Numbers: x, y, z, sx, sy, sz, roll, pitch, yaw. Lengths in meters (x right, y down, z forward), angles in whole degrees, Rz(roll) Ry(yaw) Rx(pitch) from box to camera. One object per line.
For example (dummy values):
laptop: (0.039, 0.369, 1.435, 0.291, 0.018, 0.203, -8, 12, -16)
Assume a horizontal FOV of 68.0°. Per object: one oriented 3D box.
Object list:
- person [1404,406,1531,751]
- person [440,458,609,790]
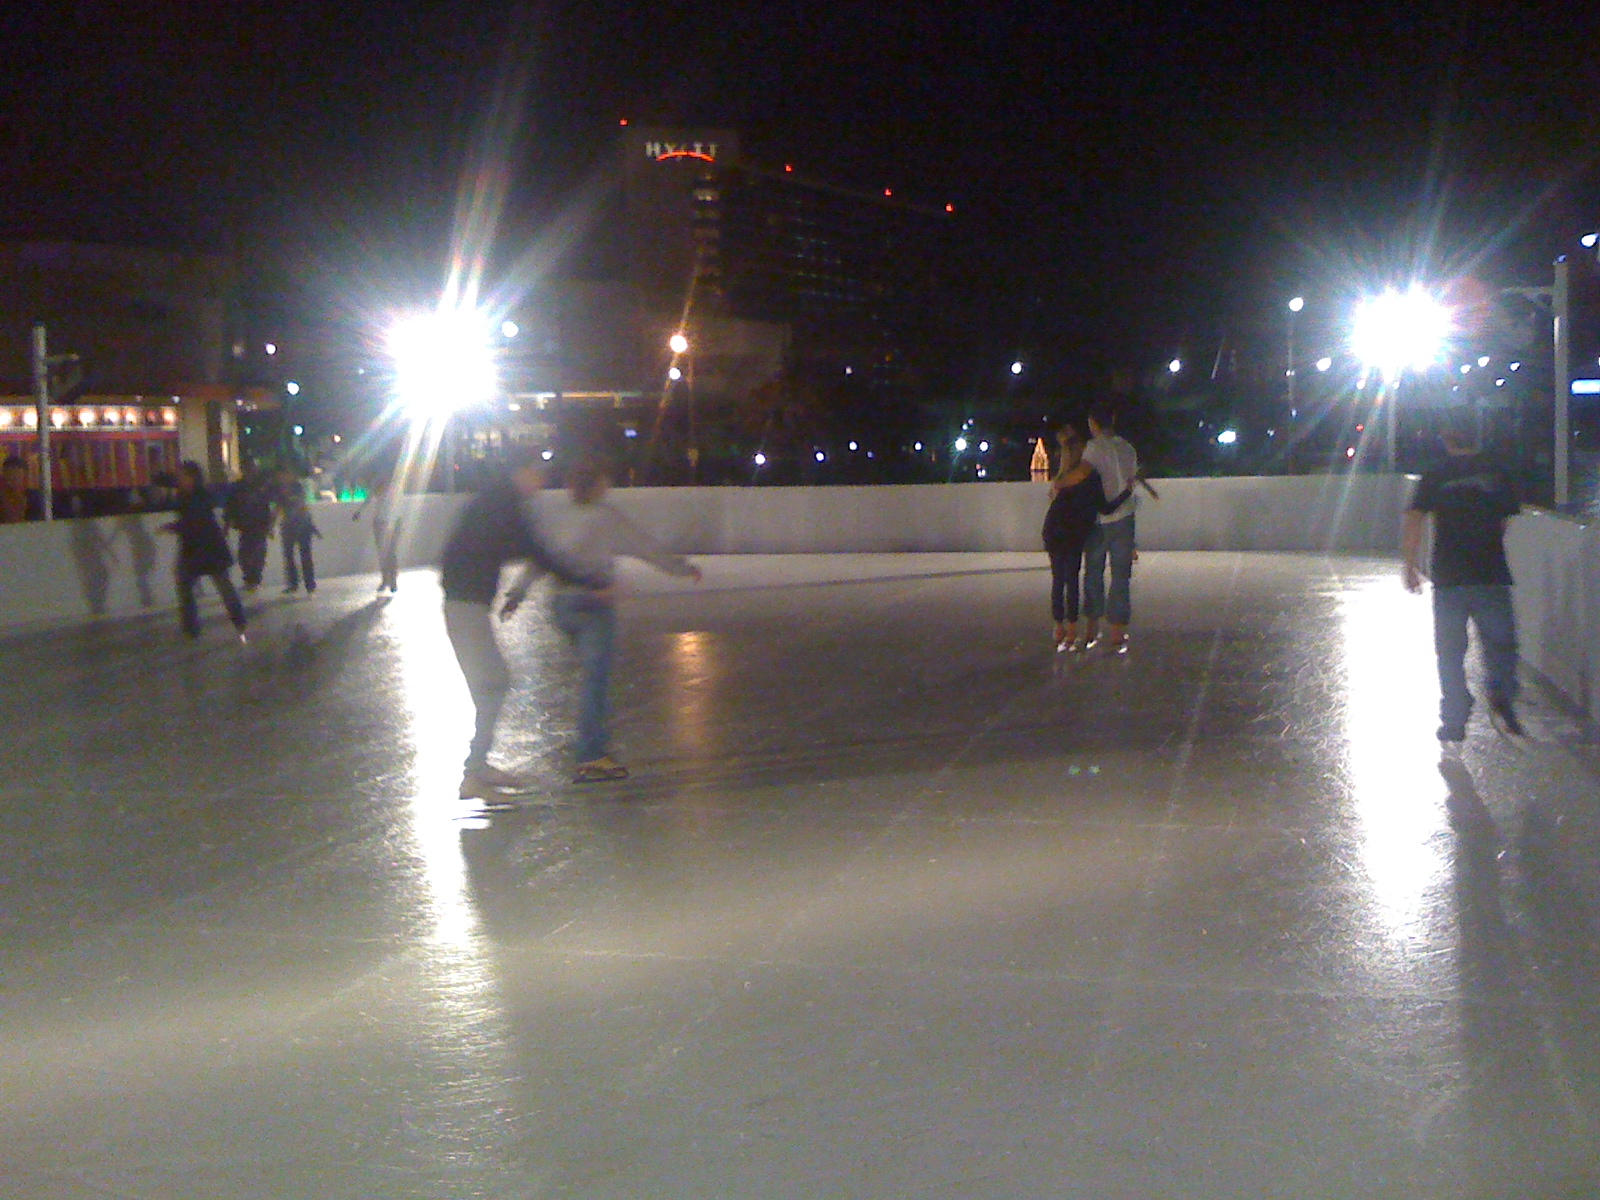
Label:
person: (4.591, -0.177, 8.250, 0.952, 2.256, 0.476, -3, 5, -15)
person: (-1.891, 0.130, 7.619, 0.723, 2.114, 0.897, -3, 6, -17)
